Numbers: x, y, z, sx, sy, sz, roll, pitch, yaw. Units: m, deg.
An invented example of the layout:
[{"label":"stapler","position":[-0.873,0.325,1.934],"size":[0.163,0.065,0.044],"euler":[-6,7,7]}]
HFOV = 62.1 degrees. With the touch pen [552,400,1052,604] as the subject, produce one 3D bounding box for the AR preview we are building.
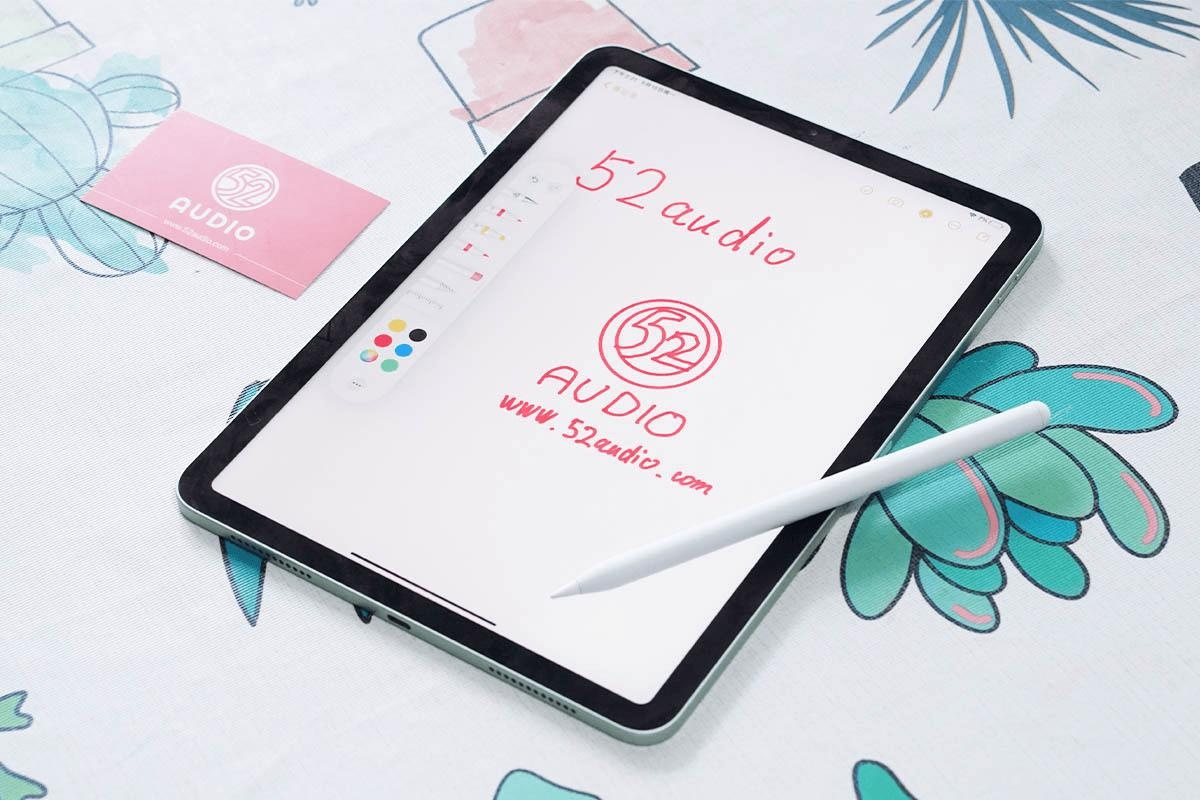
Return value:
[{"label":"touch pen","position":[0.119,0.064,0.587],"size":[0.296,0.021,0.018],"euler":[-20,79,-11]}]
